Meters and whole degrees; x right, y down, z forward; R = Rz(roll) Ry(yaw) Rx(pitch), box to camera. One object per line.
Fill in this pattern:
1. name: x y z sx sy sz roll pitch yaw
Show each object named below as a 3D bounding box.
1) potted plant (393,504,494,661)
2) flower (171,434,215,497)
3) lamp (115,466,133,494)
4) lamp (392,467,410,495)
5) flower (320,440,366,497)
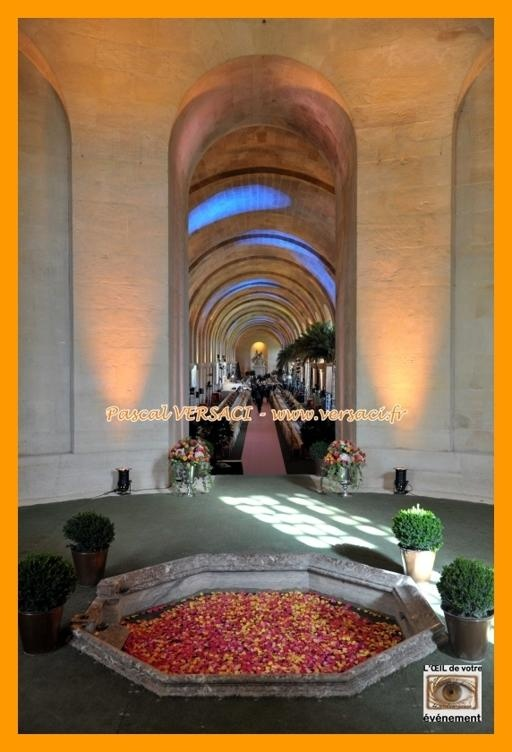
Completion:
1. potted plant: 1.573 1.752 4.453 0.817 0.410 0.857 3 15 1
2. flower: -1.156 1.610 9.676 0.843 1.192 0.845 0 -6 -6
3. lamp: -2.267 1.786 9.436 0.375 0.545 0.420 0 -3 -3
4. lamp: 2.530 1.819 9.584 0.269 0.469 0.373 1 -1 22
5. flower: 1.466 1.541 9.423 0.792 0.931 0.869 2 -2 6
